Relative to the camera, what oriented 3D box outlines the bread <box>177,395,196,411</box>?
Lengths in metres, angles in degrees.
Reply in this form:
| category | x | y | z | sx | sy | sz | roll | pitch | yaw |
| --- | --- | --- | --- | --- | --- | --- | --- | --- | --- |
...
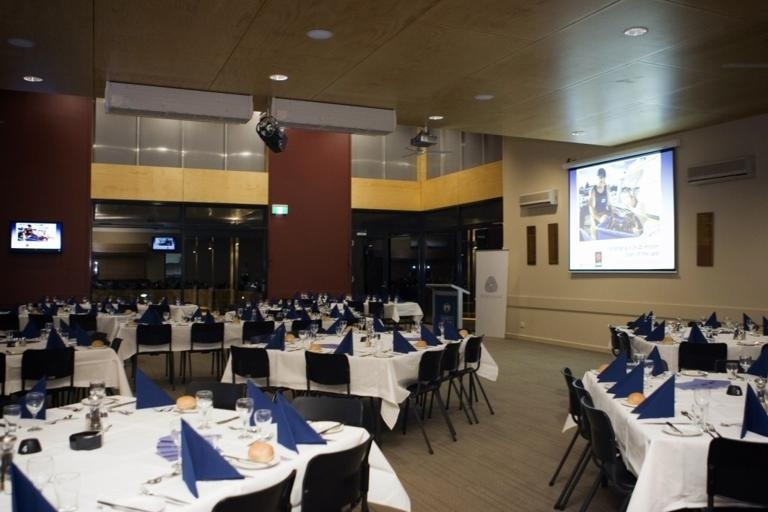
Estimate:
| category | x | y | z | sx | sy | sz | roll | pitch | yaw |
| --- | --- | --- | --- | --- | --- | --- | --- | --- | --- |
| bread | -1.583 | 1.182 | 4.651 | 0.106 | 0.109 | 0.138 | 11 | 0 | 8 |

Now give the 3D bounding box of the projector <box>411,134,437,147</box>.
| category | x | y | z | sx | sy | sz | roll | pitch | yaw |
| --- | --- | --- | --- | --- | --- | --- | --- | --- | --- |
| projector | 0.696 | -2.123 | 10.699 | 0.357 | 0.135 | 0.358 | 3 | -2 | -23 |

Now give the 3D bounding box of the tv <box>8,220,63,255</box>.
| category | x | y | z | sx | sy | sz | roll | pitch | yaw |
| --- | --- | --- | --- | --- | --- | --- | --- | --- | --- |
| tv | -7.794 | -0.406 | 12.795 | 0.742 | 0.542 | 0.102 | 1 | -5 | -18 |

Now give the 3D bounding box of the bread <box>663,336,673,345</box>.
| category | x | y | z | sx | sy | sz | roll | pitch | yaw |
| --- | --- | --- | --- | --- | --- | --- | --- | --- | --- |
| bread | 3.566 | 1.067 | 7.240 | 0.125 | 0.124 | 0.078 | -1 | -5 | 3 |

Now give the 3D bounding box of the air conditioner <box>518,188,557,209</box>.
| category | x | y | z | sx | sy | sz | roll | pitch | yaw |
| --- | --- | --- | --- | --- | --- | --- | --- | --- | --- |
| air conditioner | 3.279 | -1.220 | 12.300 | 0.934 | 0.315 | 0.487 | -19 | -6 | 43 |

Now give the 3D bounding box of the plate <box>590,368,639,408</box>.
| category | x | y | z | sx | sy | sz | roll | pitch | yaw |
| --- | --- | --- | --- | --- | --- | --- | --- | --- | --- |
| plate | 2.006 | 1.118 | 4.971 | 0.340 | 0.352 | 0.236 | 3 | -2 | 32 |

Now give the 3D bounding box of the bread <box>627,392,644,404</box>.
| category | x | y | z | sx | sy | sz | roll | pitch | yaw |
| --- | --- | --- | --- | --- | --- | --- | --- | --- | --- |
| bread | 2.088 | 1.187 | 4.800 | 0.094 | 0.058 | 0.097 | -6 | -10 | 31 |

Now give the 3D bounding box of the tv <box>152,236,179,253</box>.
| category | x | y | z | sx | sy | sz | roll | pitch | yaw |
| --- | --- | --- | --- | --- | --- | --- | --- | --- | --- |
| tv | -5.257 | -0.277 | 13.808 | 0.626 | 0.357 | 0.437 | 3 | 1 | -12 |
